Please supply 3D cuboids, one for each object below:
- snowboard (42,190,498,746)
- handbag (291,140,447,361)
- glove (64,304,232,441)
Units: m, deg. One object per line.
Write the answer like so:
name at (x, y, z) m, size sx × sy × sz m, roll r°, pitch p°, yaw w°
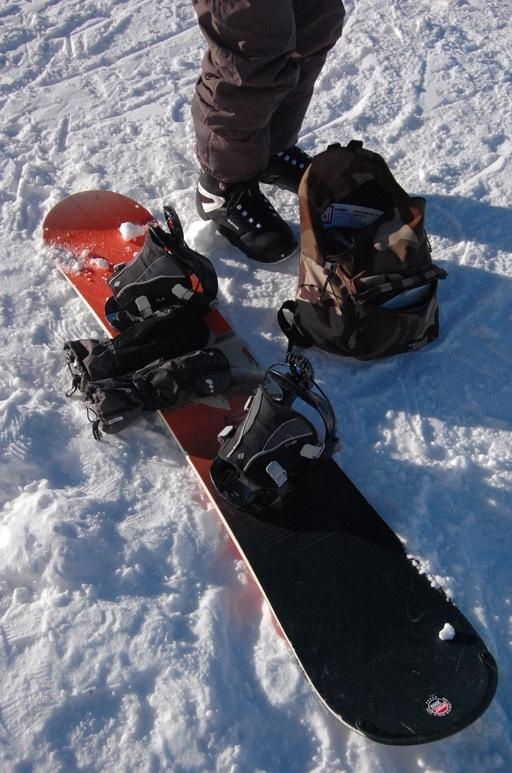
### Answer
snowboard at (-0.091, 0.141, 2.654) m, size 0.540 × 0.345 × 2.459 m, roll -33°, pitch 69°, yaw -5°
handbag at (0.489, -0.529, 2.906) m, size 0.639 × 0.781 × 0.516 m, roll -17°, pitch 36°, yaw -22°
glove at (-0.437, -0.041, 2.714) m, size 0.621 × 0.215 × 0.453 m, roll -17°, pitch 66°, yaw -18°
